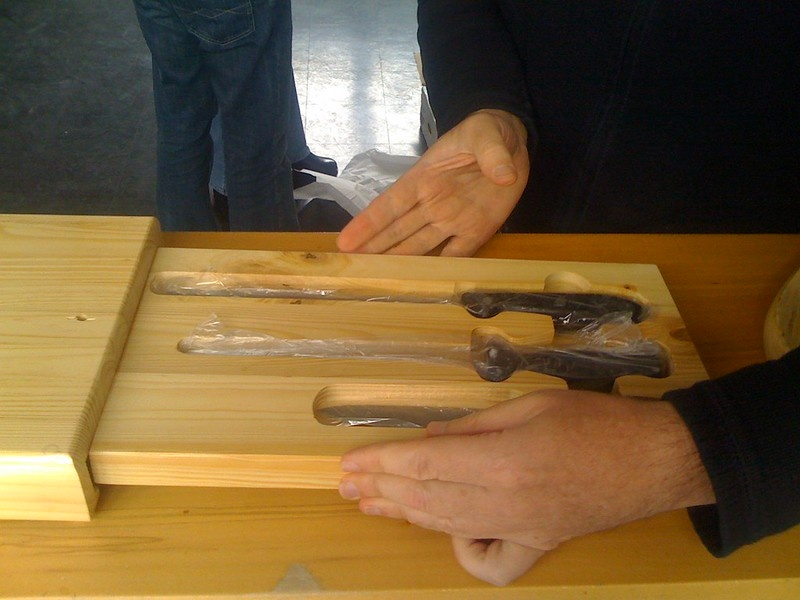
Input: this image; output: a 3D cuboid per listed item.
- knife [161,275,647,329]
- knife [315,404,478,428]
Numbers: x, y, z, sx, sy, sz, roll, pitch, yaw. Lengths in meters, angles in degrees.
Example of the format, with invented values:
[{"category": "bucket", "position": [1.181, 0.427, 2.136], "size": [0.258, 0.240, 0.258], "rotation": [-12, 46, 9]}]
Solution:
[{"category": "knife", "position": [-0.022, 0.005, 1.068], "size": [0.820, 0.029, 0.067], "rotation": [2, 37, -3]}, {"category": "knife", "position": [-0.017, 0.169, 0.975], "size": [0.306, 0.019, 0.032], "rotation": [1, 39, -7]}]
